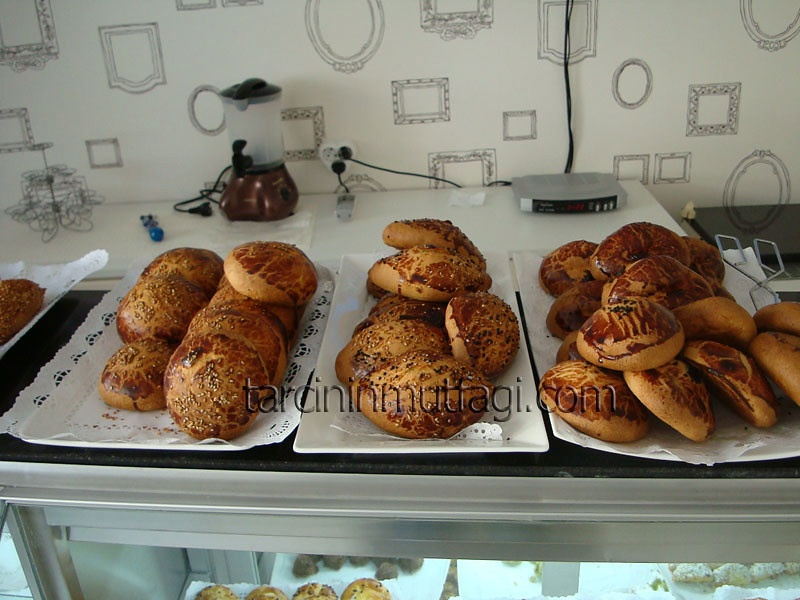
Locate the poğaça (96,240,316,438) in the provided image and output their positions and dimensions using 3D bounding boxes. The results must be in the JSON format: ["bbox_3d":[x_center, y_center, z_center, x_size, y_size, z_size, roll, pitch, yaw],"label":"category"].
[{"bbox_3d":[-0.250,0.029,0.729,0.224,0.086,0.286,5,51,6],"label":"poğaça"}]

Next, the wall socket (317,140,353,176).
[{"bbox_3d":[-0.186,-0.414,1.590,0.103,0.100,0.040,-7,26,-9],"label":"wall socket"}]

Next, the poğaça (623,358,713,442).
[{"bbox_3d":[0.306,0.118,0.648,0.086,0.028,0.096,0,47,-47],"label":"poğaça"}]

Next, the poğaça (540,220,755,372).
[{"bbox_3d":[0.338,-0.018,0.750,0.205,0.088,0.261,-5,31,20],"label":"poğaça"}]

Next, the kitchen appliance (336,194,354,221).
[{"bbox_3d":[-0.157,-0.268,1.513,0.048,0.023,0.095,1,35,5],"label":"kitchen appliance"}]

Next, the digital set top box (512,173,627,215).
[{"bbox_3d":[0.462,-0.302,1.495,0.289,0.062,0.220,1,27,6],"label":"digital set top box"}]

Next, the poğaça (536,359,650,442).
[{"bbox_3d":[0.234,0.123,0.641,0.084,0.033,0.108,-23,42,-27],"label":"poğaça"}]
